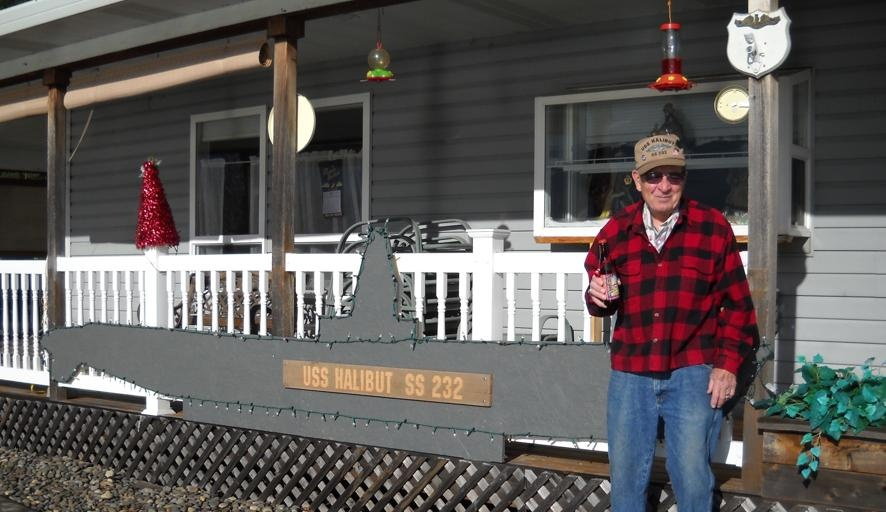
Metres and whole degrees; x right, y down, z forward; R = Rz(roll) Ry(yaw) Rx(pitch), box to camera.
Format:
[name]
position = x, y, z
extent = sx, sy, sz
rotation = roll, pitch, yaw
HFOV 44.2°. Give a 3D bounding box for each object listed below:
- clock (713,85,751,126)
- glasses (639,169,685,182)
[clock]
position = 3.352, -1.752, 12.684
extent = 0.442, 0.474, 0.106
rotation = 1, 4, 26
[glasses]
position = 1.999, -0.727, 10.003
extent = 0.402, 0.129, 0.058
rotation = 0, -2, 4
